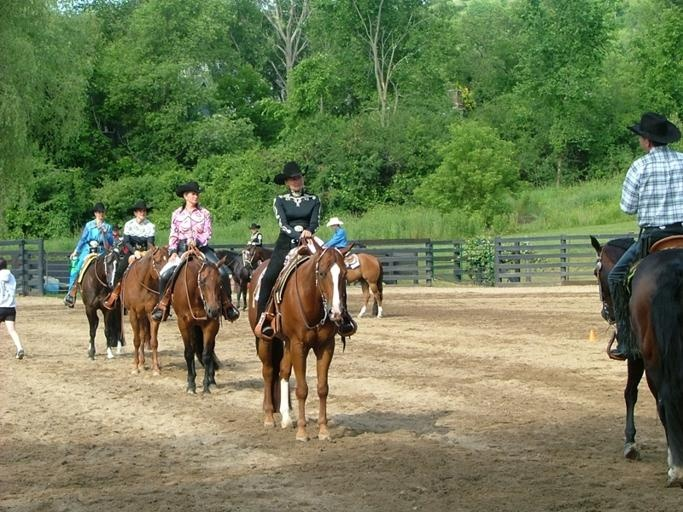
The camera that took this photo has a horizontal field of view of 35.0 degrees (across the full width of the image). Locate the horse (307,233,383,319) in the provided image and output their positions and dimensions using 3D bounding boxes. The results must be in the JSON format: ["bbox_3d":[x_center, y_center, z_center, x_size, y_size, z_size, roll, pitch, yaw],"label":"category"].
[{"bbox_3d":[0.950,0.907,43.325,1.767,3.504,1.411,0,0,-5],"label":"horse"}]

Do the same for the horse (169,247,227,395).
[{"bbox_3d":[-4.277,2.066,34.564,1.809,4.478,1.733,-2,11,-28],"label":"horse"}]

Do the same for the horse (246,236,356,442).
[{"bbox_3d":[-1.207,2.780,33.276,2.042,5.482,7.251,1,-6,-20],"label":"horse"}]
